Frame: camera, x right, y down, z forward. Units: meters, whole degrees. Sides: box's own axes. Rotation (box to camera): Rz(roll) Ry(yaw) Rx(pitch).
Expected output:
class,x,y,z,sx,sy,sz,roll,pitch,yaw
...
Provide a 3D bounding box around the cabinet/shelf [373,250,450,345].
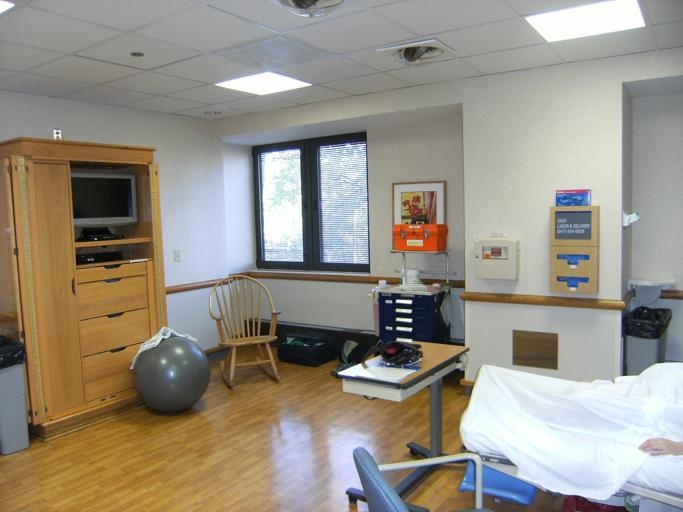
class,x,y,z,sx,sy,sz,roll,pitch,yaw
cabinet/shelf,0.803,0.409,5.476,0.801,1.106,0.799,-7,18,-7

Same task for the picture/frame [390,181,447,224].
class,x,y,z,sx,sy,sz,roll,pitch,yaw
picture/frame,0.915,-0.567,5.830,0.704,0.576,0.031,-5,8,-27

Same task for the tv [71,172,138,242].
class,x,y,z,sx,sy,sz,roll,pitch,yaw
tv,-2.386,-0.492,4.929,0.296,0.655,0.715,4,8,34

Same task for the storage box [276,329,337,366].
class,x,y,z,sx,sy,sz,roll,pitch,yaw
storage box,-0.390,1.149,6.235,0.520,0.306,0.417,1,0,34

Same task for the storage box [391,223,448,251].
class,x,y,z,sx,sy,sz,roll,pitch,yaw
storage box,0.847,-0.186,5.341,0.563,0.309,0.224,-1,9,7
